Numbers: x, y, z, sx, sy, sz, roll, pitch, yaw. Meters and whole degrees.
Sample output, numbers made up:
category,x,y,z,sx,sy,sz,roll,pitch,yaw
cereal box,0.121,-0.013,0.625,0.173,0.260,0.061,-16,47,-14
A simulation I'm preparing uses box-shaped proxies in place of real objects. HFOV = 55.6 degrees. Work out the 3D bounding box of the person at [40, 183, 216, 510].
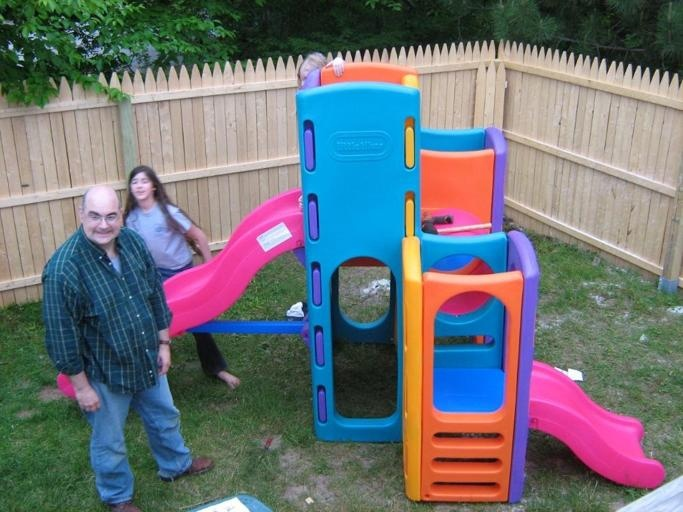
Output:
category,x,y,z,sx,sy,sz,roll,pitch,yaw
person,-1.648,0.731,4.779,0.937,2.503,0.386,-12,20,-31

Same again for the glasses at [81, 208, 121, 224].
category,x,y,z,sx,sy,sz,roll,pitch,yaw
glasses,-1.632,-0.264,4.415,0.214,0.095,0.063,-7,19,-18

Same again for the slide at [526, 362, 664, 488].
category,x,y,z,sx,sy,sz,roll,pitch,yaw
slide,2.034,1.415,5.305,1.346,0.399,0.716,33,29,-14

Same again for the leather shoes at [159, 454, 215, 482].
category,x,y,z,sx,sy,sz,roll,pitch,yaw
leather shoes,-1.288,1.783,5.419,0.427,0.181,0.159,-19,31,-34

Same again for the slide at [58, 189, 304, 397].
category,x,y,z,sx,sy,sz,roll,pitch,yaw
slide,-1.361,0.383,5.846,2.482,1.418,0.727,-10,9,-31
